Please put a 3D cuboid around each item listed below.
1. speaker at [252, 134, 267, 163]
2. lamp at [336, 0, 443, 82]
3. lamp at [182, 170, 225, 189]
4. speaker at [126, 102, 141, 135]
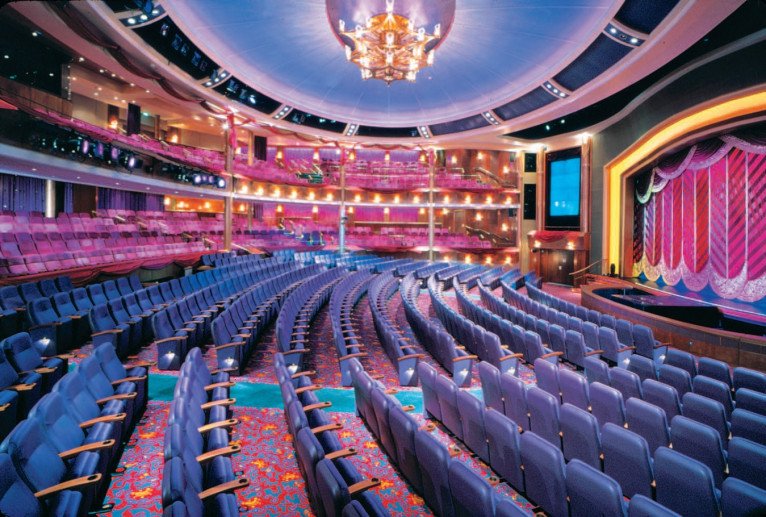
[{"bbox_3d":[-4.851,-4.282,18.359,0.269,0.932,0.456,0,2,43],"label":"speaker"},{"bbox_3d":[0.106,-5.216,11.065,1.914,1.605,1.770,-2,1,-15],"label":"lamp"},{"bbox_3d":[-5.220,-2.224,13.430,0.671,0.317,0.689,9,7,42],"label":"lamp"},{"bbox_3d":[-7.814,-4.331,14.606,0.392,1.022,0.405,0,2,42],"label":"speaker"}]
